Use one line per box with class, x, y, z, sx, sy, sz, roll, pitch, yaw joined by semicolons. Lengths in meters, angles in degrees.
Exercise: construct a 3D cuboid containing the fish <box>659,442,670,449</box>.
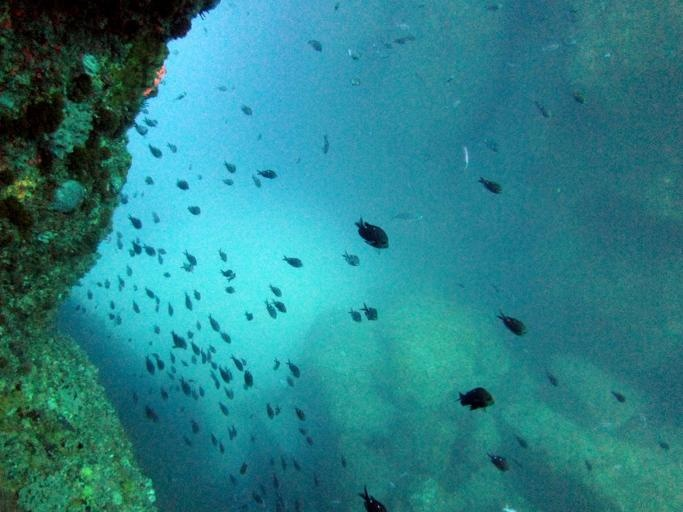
fish;9.729;5.716;19.312;0.272;0.076;0.220;-15;34;18
